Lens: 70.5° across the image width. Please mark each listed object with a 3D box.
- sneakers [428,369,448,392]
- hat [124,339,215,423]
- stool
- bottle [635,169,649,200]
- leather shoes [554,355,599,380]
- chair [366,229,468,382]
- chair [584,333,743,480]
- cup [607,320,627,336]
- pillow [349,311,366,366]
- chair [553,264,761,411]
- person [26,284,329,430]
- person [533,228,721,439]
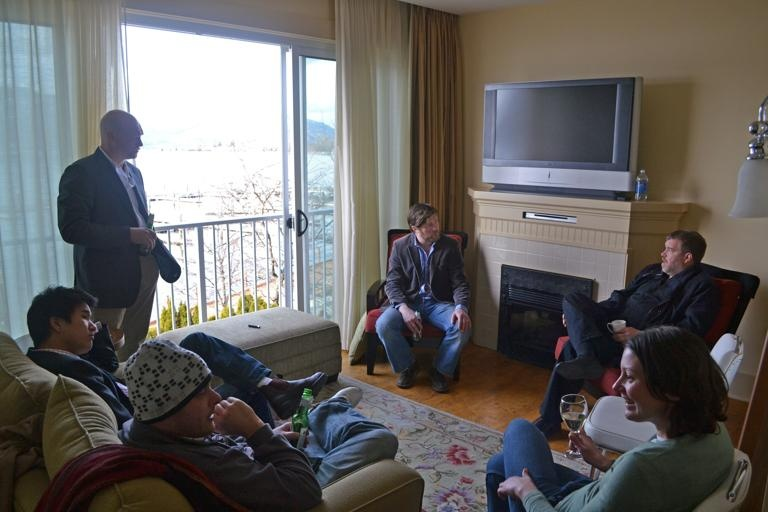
[{"bbox_3d":[0.427,0.961,4.144,0.080,0.121,0.190,-2,3,-17],"label":"sneakers"},{"bbox_3d":[-0.792,0.453,2.070,0.266,0.243,0.284,-23,-6,1],"label":"hat"},{"bbox_3d":[-0.803,0.597,3.939,0.583,0.415,0.885,7,12,32],"label":"stool"},{"bbox_3d":[2.006,-0.545,4.224,0.098,0.219,0.230,6,17,26],"label":"bottle"},{"bbox_3d":[1.188,0.681,3.381,0.293,0.117,0.202,1,2,-2],"label":"leather shoes"},{"bbox_3d":[0.239,0.398,4.631,0.727,1.063,0.776,5,8,7],"label":"chair"},{"bbox_3d":[1.345,0.791,2.754,0.600,0.760,0.588,4,11,43],"label":"chair"},{"bbox_3d":[1.470,0.452,3.463,0.141,0.102,0.093,-8,-1,41],"label":"cup"},{"bbox_3d":[-0.213,0.707,4.592,0.103,0.351,0.344,11,15,10],"label":"pillow"},{"bbox_3d":[1.930,0.504,3.770,1.019,0.959,0.750,-3,-3,14],"label":"chair"},{"bbox_3d":[-0.980,0.614,3.010,1.618,0.933,0.744,3,4,-26],"label":"person"},{"bbox_3d":[1.582,0.581,3.633,1.048,1.340,0.860,7,9,-16],"label":"person"}]
